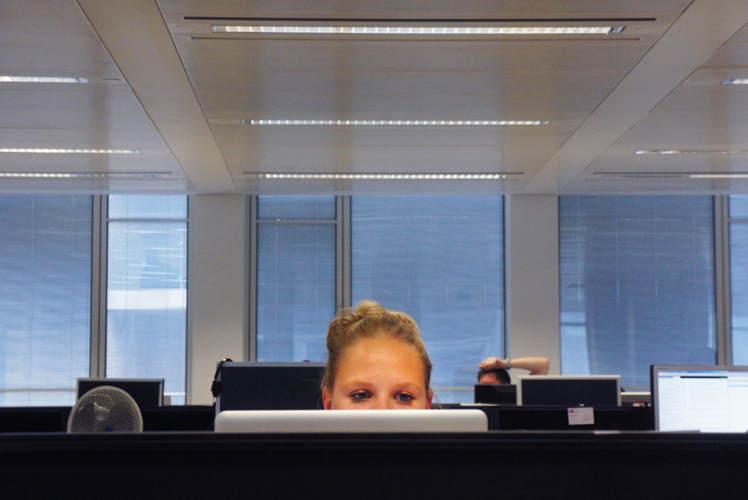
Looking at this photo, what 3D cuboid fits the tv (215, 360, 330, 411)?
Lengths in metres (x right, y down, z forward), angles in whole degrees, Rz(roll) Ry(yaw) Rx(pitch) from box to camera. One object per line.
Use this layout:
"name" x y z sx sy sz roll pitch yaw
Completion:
"tv" -0.891 1.163 10.091 1.168 0.527 0.255 -1 -4 -3

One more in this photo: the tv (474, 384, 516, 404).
"tv" 1.083 1.286 10.524 0.349 0.200 0.176 0 -11 2

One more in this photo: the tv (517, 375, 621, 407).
"tv" 1.686 1.222 10.340 0.921 0.258 0.077 2 -14 -8

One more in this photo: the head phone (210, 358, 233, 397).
"head phone" -1.368 1.110 10.246 0.089 0.285 0.278 5 -2 8

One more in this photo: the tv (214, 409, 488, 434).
"tv" -0.168 1.139 7.913 1.801 0.135 0.180 -1 -13 4

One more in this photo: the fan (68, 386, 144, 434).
"fan" -2.105 1.256 9.148 0.541 0.471 0.124 8 -11 -17

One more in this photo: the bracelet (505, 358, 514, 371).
"bracelet" 1.377 1.171 12.179 0.114 0.116 0.138 1 -16 4
